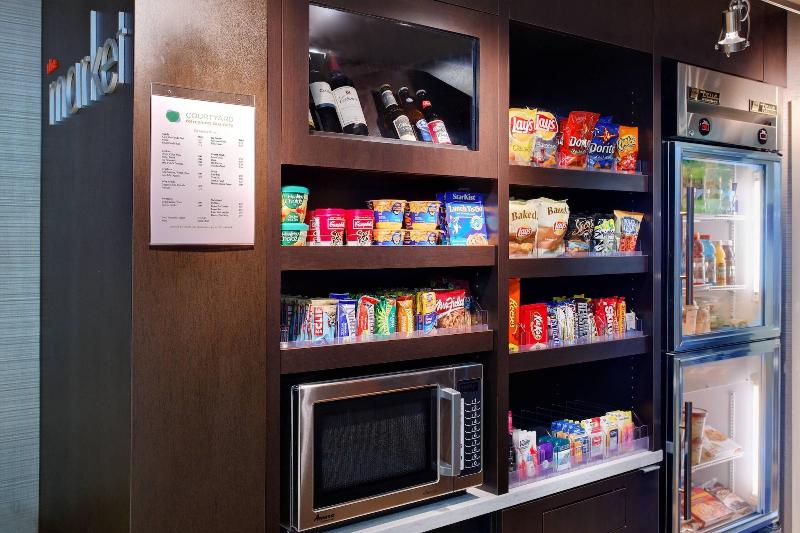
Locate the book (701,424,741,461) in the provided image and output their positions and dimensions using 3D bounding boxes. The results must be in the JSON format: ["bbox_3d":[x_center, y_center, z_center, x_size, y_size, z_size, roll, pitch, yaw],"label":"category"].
[{"bbox_3d":[1.764,0.995,3.288,0.204,0.194,0.047,10,-39,-21],"label":"book"}]

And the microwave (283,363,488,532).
[{"bbox_3d":[-0.050,0.703,2.401,0.835,0.532,0.556,0,-2,-37],"label":"microwave"}]
